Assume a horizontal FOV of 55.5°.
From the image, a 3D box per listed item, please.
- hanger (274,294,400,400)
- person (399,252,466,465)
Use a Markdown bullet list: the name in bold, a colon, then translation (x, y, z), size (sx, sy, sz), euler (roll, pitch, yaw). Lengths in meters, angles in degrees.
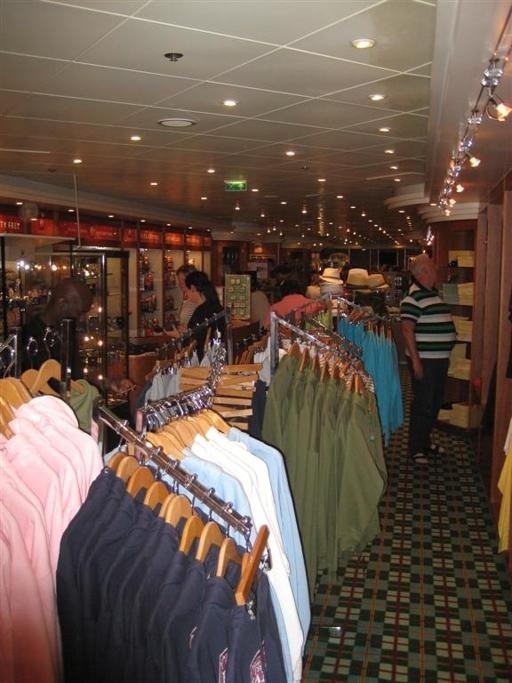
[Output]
- **hanger**: translation (0.513, -0.003, 3.280), size (0.797, 0.698, 1.069), euler (2, 3, -18)
- **person**: translation (1.605, 0.192, 4.675), size (0.546, 2.053, 0.357), euler (-3, 5, -17)
